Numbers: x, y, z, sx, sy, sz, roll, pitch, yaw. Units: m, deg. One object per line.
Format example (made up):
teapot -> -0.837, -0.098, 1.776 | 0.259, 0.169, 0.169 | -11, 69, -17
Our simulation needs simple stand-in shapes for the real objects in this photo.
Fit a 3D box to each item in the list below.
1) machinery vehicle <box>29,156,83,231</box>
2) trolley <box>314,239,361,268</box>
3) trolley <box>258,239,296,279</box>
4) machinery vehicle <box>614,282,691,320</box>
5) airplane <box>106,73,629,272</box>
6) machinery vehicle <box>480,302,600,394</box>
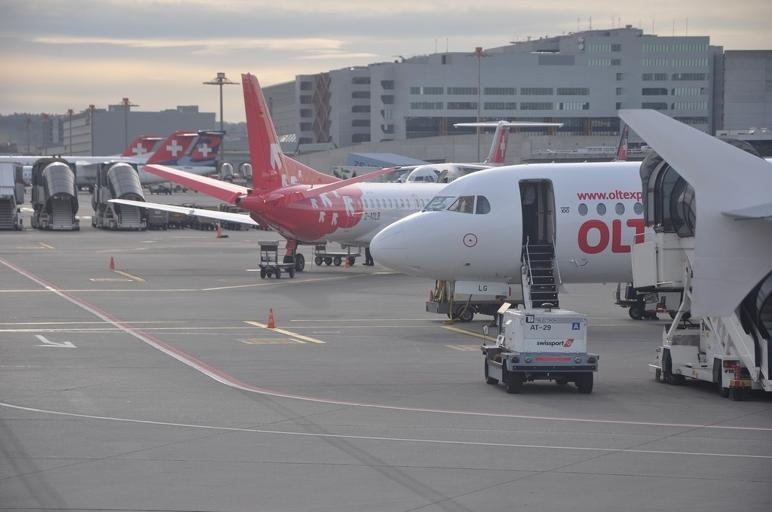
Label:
machinery vehicle -> -22.748, -4.367, 115.548 | 5.809, 5.331, 2.887 | 4, 0, -22
trolley -> -2.798, 0.067, 89.524 | 2.681, 1.180, 1.245 | 0, 4, 2
trolley -> -5.575, 0.115, 83.264 | 1.752, 1.889, 2.783 | -1, 5, -3
machinery vehicle -> 10.439, 1.906, 67.945 | 3.918, 1.620, 2.386 | -7, -6, 35
airplane -> -2.231, -3.128, 86.370 | 16.711, 4.261, 14.566 | 3, 4, 33
machinery vehicle -> 5.507, 3.418, 59.208 | 3.676, 3.018, 1.490 | -1, 6, -4
